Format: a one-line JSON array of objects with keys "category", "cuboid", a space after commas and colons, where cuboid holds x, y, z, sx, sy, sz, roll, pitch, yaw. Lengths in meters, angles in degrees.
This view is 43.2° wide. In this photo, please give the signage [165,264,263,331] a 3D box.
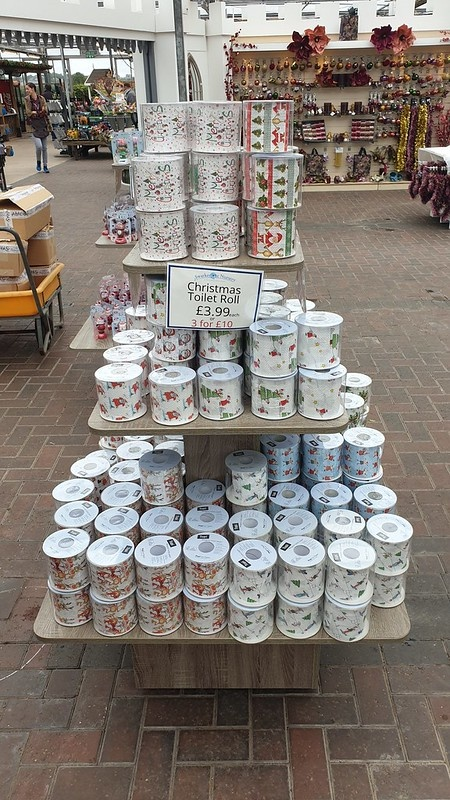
[{"category": "signage", "cuboid": [-0.043, -0.339, 1.852, 0.251, 0.186, 0.010, 2, 32, -11]}]

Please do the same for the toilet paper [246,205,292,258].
[{"category": "toilet paper", "cuboid": [0.169, -0.569, 1.966, 0.160, 0.158, 0.166, 7, 28, 16]}]

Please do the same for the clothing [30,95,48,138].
[{"category": "clothing", "cuboid": [-4.889, -7.304, 14.808, 0.411, 0.927, 0.528, -9, 24, -15]}]

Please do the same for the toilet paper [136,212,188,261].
[{"category": "toilet paper", "cuboid": [-0.214, -0.559, 1.951, 0.167, 0.164, 0.098, -6, 23, -7]}]

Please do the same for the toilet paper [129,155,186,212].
[{"category": "toilet paper", "cuboid": [-0.223, -0.711, 1.895, 0.172, 0.166, 0.091, -6, 23, -9]}]

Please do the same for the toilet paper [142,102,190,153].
[{"category": "toilet paper", "cuboid": [-0.176, -0.927, 1.974, 0.161, 0.181, 0.167, 13, 33, 21]}]
